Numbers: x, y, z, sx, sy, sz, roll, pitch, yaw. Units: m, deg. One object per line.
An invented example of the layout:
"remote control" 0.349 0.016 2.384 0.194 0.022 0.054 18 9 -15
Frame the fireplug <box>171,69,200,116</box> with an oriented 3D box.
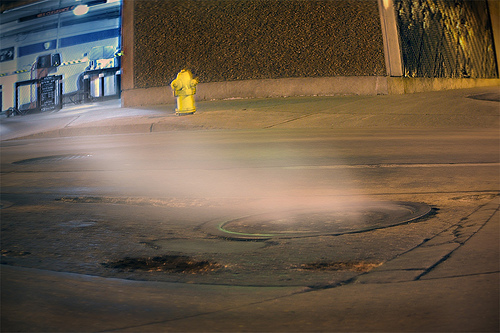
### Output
"fireplug" -2.099 -2.307 17.277 0.800 1.451 0.450 -10 7 -40
